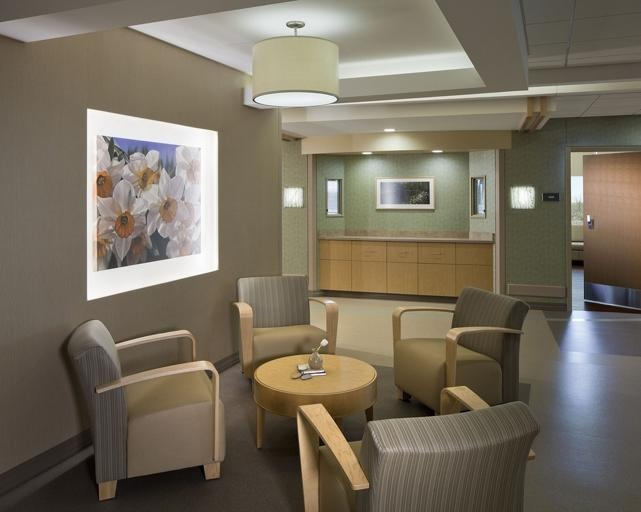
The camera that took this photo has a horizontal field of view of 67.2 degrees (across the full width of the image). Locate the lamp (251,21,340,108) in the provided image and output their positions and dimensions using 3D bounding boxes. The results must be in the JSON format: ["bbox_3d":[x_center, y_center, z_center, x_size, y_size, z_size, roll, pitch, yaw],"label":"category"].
[{"bbox_3d":[-0.225,-1.677,4.176,0.695,0.684,0.786,3,7,30],"label":"lamp"}]

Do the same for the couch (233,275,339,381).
[{"bbox_3d":[-0.395,0.625,4.799,1.051,1.343,0.923,0,-4,-25],"label":"couch"}]

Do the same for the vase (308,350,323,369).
[{"bbox_3d":[-0.036,0.815,3.806,0.105,0.181,0.121,-2,-3,15],"label":"vase"}]
